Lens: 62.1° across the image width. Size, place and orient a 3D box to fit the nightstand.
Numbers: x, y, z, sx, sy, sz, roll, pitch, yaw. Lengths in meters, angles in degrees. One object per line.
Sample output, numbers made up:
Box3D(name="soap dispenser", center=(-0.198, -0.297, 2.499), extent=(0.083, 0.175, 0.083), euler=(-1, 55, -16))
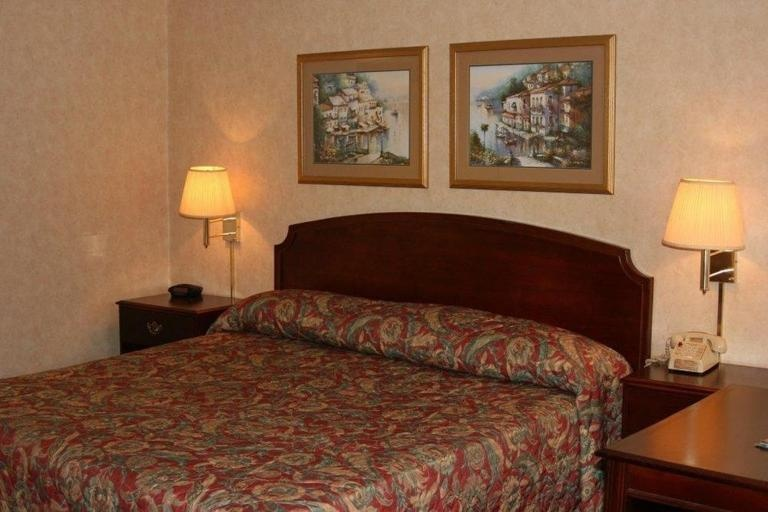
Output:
Box3D(name="nightstand", center=(-1.504, 0.378, 4.639), extent=(0.600, 0.561, 0.492), euler=(7, 10, 36))

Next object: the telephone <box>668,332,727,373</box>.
Box3D(name="telephone", center=(1.611, 0.492, 3.321), extent=(0.239, 0.151, 0.288), euler=(-19, 11, -36))
